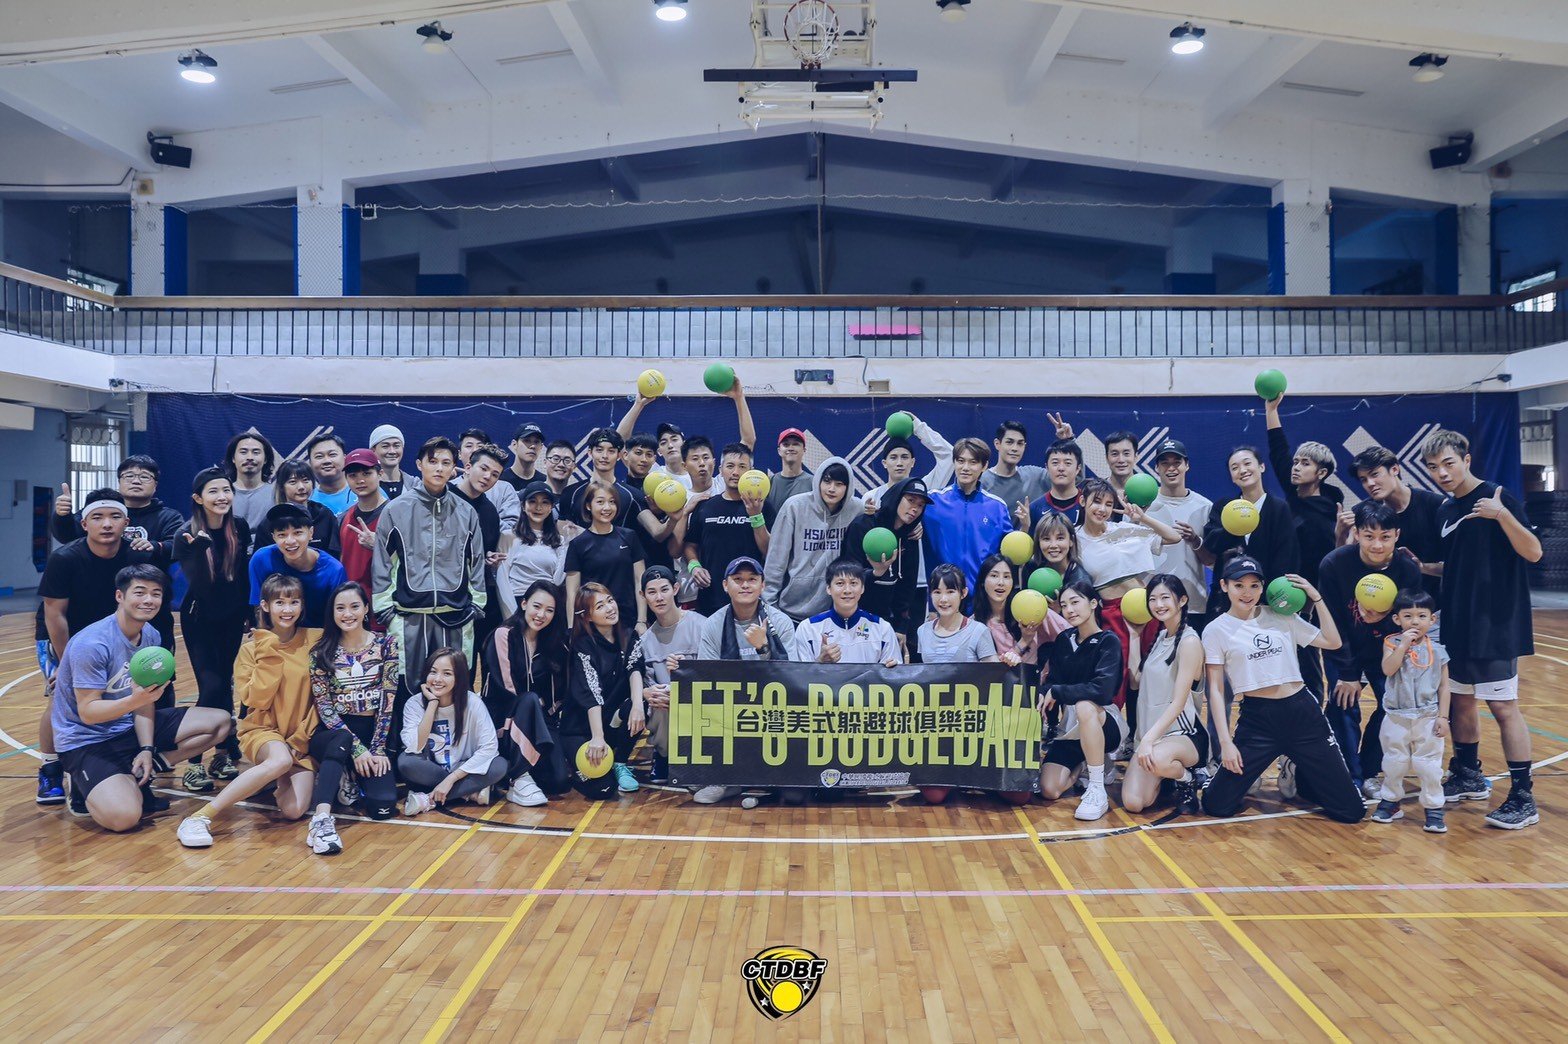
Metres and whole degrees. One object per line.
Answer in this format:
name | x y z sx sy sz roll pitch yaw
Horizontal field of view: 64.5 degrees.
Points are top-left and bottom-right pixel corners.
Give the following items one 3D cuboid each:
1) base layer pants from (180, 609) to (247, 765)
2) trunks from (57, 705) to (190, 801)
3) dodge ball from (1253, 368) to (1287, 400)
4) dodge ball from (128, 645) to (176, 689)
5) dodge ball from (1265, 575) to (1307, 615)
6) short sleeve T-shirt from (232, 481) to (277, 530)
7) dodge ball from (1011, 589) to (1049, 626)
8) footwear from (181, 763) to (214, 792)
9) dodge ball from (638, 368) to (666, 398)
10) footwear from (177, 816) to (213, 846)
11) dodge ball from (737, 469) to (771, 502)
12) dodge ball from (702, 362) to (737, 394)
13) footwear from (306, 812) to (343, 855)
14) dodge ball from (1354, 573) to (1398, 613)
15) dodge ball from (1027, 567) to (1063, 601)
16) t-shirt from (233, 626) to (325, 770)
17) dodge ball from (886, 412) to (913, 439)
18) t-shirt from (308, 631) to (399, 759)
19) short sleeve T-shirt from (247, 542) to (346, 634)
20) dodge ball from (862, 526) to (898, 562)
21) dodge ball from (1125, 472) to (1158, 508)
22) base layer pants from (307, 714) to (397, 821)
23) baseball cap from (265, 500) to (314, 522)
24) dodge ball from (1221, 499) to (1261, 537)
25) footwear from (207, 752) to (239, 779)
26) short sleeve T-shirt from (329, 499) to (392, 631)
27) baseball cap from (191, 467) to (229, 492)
base layer pants | -5.120 1.420 11.143 0.462 1.240 0.341 -3 22 -21
trunks | -5.536 1.916 10.304 0.645 0.323 1.166 24 20 2
dodge ball | 4.374 -1.221 11.200 0.195 0.299 0.281 -2 -2 34
dodge ball | -5.088 1.165 9.950 0.241 0.242 0.234 -40 2 1
dodge ball | 4.180 0.615 10.334 0.384 0.318 0.166 0 -2 -19
short sleeve T-shirt | -4.901 -0.130 11.435 0.452 0.445 0.256 0 -2 -12
dodge ball | 2.087 0.725 10.595 0.303 0.306 0.353 15 4 13
footwear | -5.082 2.228 10.764 0.363 0.166 0.162 -10 -11 41
dodge ball | -1.292 -1.328 12.008 0.201 0.316 0.722 -1 -2 -3
footwear | -4.735 2.471 9.974 0.254 0.237 0.242 0 -2 -27
dodge ball | -0.282 -0.306 11.281 0.283 0.279 0.157 -28 7 -8
dodge ball | -0.616 -1.358 11.790 0.253 0.283 0.442 -1 -2 -1
footwear | -3.684 2.475 9.938 0.255 0.304 0.285 0 -2 -20
dodge ball | 4.903 0.607 10.314 0.301 0.332 0.215 -2 -2 24
dodge ball | 2.272 0.522 10.826 0.272 0.277 0.320 10 -17 32
t-shirt | -4.220 1.459 10.263 0.697 1.162 0.280 -1 -2 12
dodge ball | 1.095 -0.926 11.692 0.294 0.344 0.298 3 -13 1
t-shirt | -3.586 1.447 10.340 0.689 1.079 0.614 4 -13 -25
short sleeve T-shirt | -4.111 0.581 10.453 0.671 0.656 0.348 5 13 -7
dodge ball | 0.857 0.222 10.969 0.284 0.289 0.345 3 -39 10
dodge ball | 3.199 -0.319 11.141 0.292 0.295 0.342 -15 -20 20
base layer pants | -3.584 2.017 10.248 0.507 0.925 0.400 -13 -29 -34
baseball cap | -4.208 -0.038 10.507 0.345 0.209 0.238 0 -2 -19
dodge ball | 3.992 -0.018 10.850 0.307 0.313 0.310 11 -18 3
footwear | -5.015 2.160 11.010 0.362 0.178 0.148 -2 -4 22
short sleeve T-shirt | -3.903 0.531 11.428 0.591 1.415 0.374 7 7 -8
baseball cap | -4.954 -0.346 10.745 0.275 0.231 0.385 0 -2 -24
